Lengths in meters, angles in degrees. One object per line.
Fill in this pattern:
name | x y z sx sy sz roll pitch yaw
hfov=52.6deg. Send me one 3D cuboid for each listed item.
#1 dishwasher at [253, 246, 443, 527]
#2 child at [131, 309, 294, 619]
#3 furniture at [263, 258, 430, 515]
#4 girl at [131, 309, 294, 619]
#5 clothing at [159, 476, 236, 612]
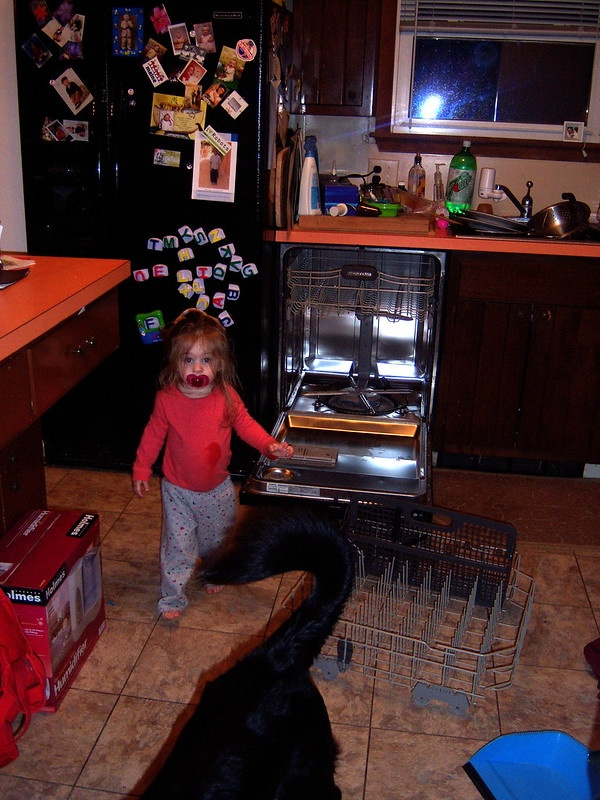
dishwasher | 0.228 -0.148 2.318 0.643 0.924 1.054 2 31 3
child | -0.285 0.201 1.813 0.392 0.856 0.342 -7 17 -27
furniture | 0.212 -0.153 2.341 0.569 0.529 1.039 2 30 2
girl | -0.285 0.202 1.827 0.412 0.880 0.344 -6 19 -23
clothing | -0.321 0.431 1.883 0.286 0.407 0.230 -9 14 -20
